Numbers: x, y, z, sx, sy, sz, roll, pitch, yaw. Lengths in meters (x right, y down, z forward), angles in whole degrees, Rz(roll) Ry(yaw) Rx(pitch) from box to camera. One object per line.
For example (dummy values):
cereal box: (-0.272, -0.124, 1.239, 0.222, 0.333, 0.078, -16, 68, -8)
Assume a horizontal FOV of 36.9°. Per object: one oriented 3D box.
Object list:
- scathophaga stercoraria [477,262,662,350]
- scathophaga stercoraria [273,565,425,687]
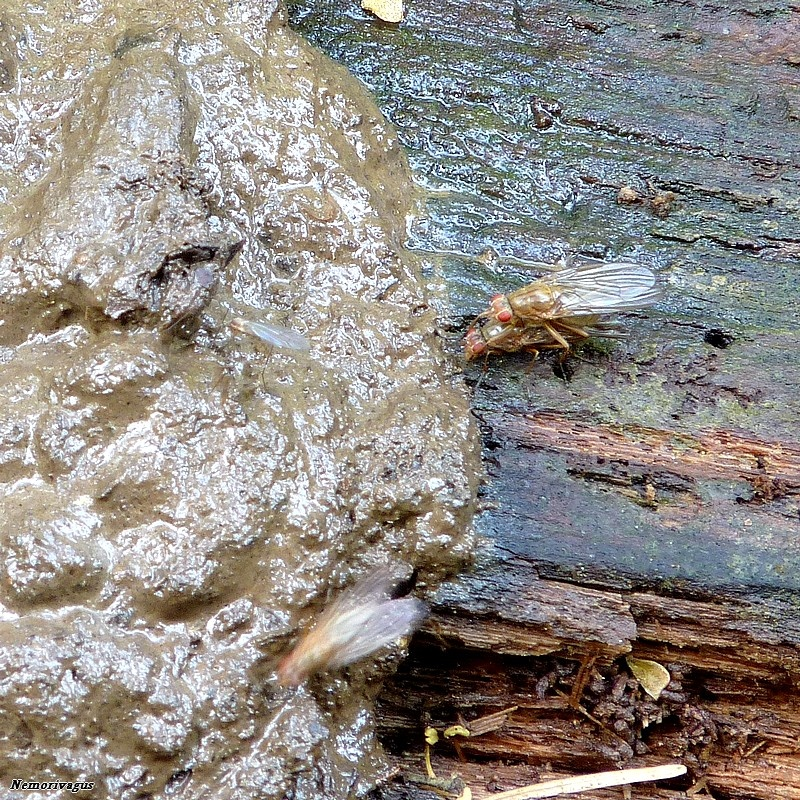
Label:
scathophaga stercoraria: (0.751, -0.384, 5.742, 0.936, 0.308, 0.370, -20, 44, -19)
scathophaga stercoraria: (-0.209, 1.018, 5.351, 0.782, 0.339, 0.232, -31, 49, -29)
